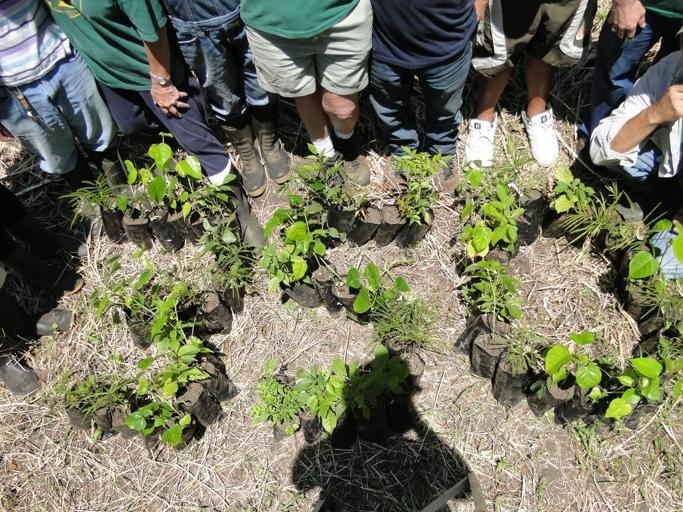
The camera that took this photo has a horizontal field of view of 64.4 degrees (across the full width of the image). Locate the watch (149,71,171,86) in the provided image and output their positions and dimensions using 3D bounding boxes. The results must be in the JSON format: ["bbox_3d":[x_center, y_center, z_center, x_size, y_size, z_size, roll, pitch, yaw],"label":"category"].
[{"bbox_3d":[-1.444,-1.388,4.327,0.103,0.060,0.118,-3,52,-18],"label":"watch"}]

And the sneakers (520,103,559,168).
[{"bbox_3d":[1.941,-1.111,5.281,0.238,0.267,0.681,-13,90,9],"label":"sneakers"}]

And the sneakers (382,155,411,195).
[{"bbox_3d":[0.507,-0.742,5.141,0.226,0.083,0.344,-16,69,37],"label":"sneakers"}]

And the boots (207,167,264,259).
[{"bbox_3d":[-0.792,-0.357,5.004,0.294,0.596,0.890,-23,90,6],"label":"boots"}]
